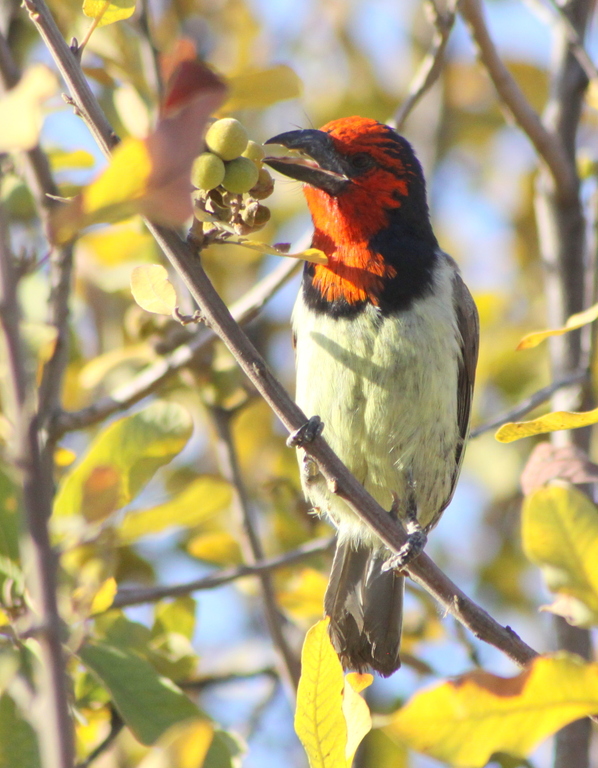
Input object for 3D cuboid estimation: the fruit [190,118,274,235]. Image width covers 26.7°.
[{"bbox_3d":[-0.150,-0.456,2.809,0.160,0.148,0.274,14,-69,-20],"label":"fruit"}]
